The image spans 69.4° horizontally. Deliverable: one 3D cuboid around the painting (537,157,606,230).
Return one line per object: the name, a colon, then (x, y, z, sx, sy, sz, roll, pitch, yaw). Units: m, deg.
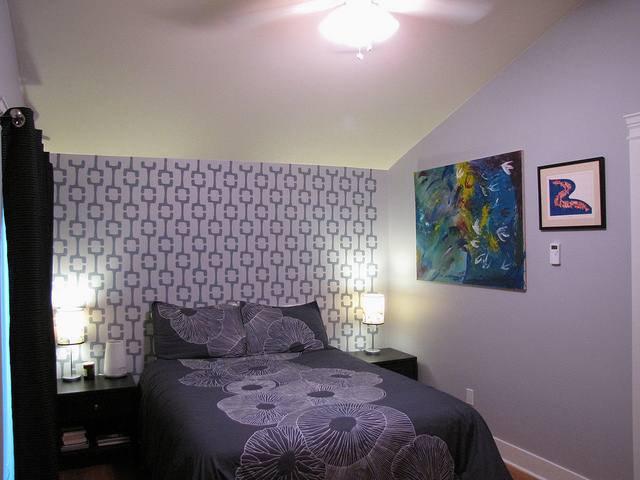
painting: (1.841, -0.342, 3.339, 0.041, 0.628, 0.515, 3, -4, -35)

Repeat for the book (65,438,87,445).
book: (-1.978, 1.627, 3.749, 0.156, 0.035, 0.019, -3, 15, -23)

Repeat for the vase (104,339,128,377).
vase: (-1.756, 1.008, 3.980, 0.201, 0.309, 0.169, -8, 17, -35)

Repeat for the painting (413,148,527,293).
painting: (1.355, -0.179, 4.067, 0.055, 1.421, 1.366, -2, 1, -27)

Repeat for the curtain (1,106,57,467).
curtain: (-1.560, 0.259, 2.439, 0.194, 1.859, 0.479, -3, 15, -22)

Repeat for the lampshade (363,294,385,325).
lampshade: (0.545, 0.698, 4.725, 0.257, 0.298, 0.264, -1, 0, 4)

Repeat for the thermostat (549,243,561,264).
thermostat: (1.767, 0.092, 3.478, 0.026, 0.159, 0.100, -7, 16, -33)

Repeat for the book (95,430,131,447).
book: (-1.740, 1.632, 3.879, 0.294, 0.094, 0.168, -1, 14, -15)
